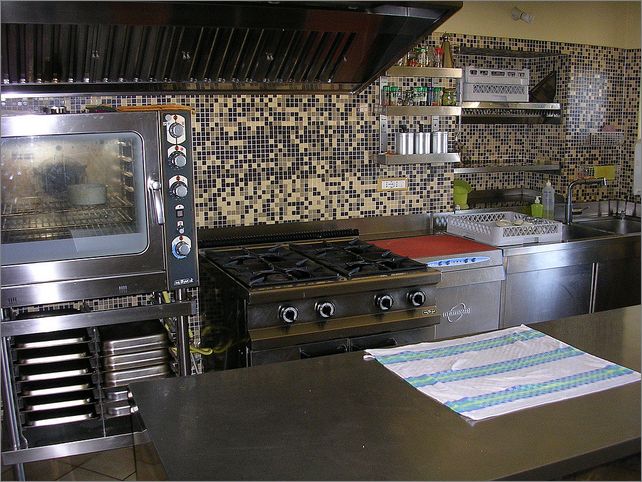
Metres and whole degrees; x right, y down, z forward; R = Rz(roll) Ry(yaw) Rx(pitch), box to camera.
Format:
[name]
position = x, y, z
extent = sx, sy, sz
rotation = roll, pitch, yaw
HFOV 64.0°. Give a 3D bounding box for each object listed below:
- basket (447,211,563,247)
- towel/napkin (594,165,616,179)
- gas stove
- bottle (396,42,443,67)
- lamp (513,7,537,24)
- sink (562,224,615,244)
[basket]
position = 1.368, -0.099, 3.803
extent = 0.648, 0.140, 0.608
rotation = -5, 15, -20
[towel/napkin]
position = 2.724, -0.664, 4.925
extent = 0.230, 0.128, 0.108
rotation = -2, 13, -13
[gas stove]
position = 0.040, 0.318, 3.362
extent = 1.322, 0.393, 1.337
rotation = -4, 9, -21
[bottle]
position = 0.721, -1.288, 3.643
extent = 0.223, 0.095, 0.276
rotation = -2, 15, -5
[lamp]
position = 1.677, -1.862, 4.300
extent = 0.104, 0.121, 0.196
rotation = 34, 11, -46
[sink]
position = 2.050, -0.017, 3.930
extent = 0.343, 0.119, 0.618
rotation = 7, 15, 24
